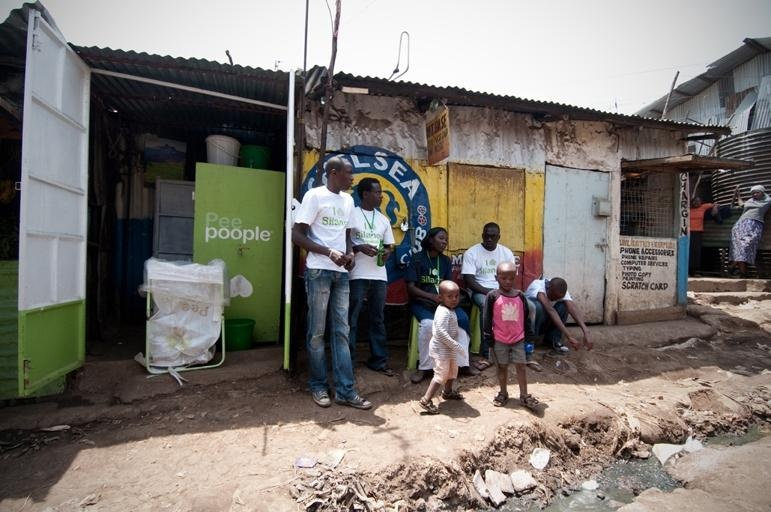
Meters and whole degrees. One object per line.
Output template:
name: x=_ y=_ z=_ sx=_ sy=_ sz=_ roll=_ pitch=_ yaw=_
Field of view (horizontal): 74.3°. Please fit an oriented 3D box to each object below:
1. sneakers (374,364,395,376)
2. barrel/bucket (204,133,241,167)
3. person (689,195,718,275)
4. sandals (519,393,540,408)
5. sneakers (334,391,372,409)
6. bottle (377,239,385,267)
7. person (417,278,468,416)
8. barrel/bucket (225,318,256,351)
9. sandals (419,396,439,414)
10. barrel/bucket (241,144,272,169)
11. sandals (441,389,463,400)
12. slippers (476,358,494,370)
sneakers: x=-0.029 y=1.609 z=7.266 sx=0.327 sy=0.098 sz=0.121 roll=4 pitch=2 yaw=38
barrel/bucket: x=-2.684 y=-1.705 z=8.239 sx=0.510 sy=0.424 sz=0.507 roll=-1 pitch=8 yaw=0
person: x=7.734 y=-0.475 z=12.420 sx=0.577 sy=1.845 sz=1.115 roll=-1 pitch=0 yaw=31
sandals: x=1.903 y=1.914 z=6.749 sx=0.264 sy=0.122 sz=0.129 roll=4 pitch=-35 yaw=14
sneakers: x=-0.398 y=1.861 z=6.691 sx=0.543 sy=0.226 sz=0.190 roll=4 pitch=-2 yaw=4
bottle: x=-0.056 y=-0.049 z=7.172 sx=0.094 sy=0.316 sz=0.231 roll=-1 pitch=0 yaw=15
person: x=0.760 y=1.180 z=6.802 sx=0.583 sy=1.365 sz=0.791 roll=-1 pitch=0 yaw=14
barrel/bucket: x=-2.183 y=1.159 z=7.622 sx=0.433 sy=0.338 sz=0.426 roll=0 pitch=-7 yaw=0
sandals: x=0.527 y=1.938 z=6.633 sx=0.269 sy=0.136 sz=0.136 roll=19 pitch=-4 yaw=32
barrel/bucket: x=-2.124 y=-1.587 z=8.333 sx=0.411 sy=0.329 sz=0.412 roll=1 pitch=-9 yaw=0
sandals: x=0.894 y=1.863 z=6.887 sx=0.271 sy=0.121 sz=0.120 roll=0 pitch=1 yaw=-1
slippers: x=1.467 y=1.618 z=7.661 sx=0.123 sy=0.068 sz=0.207 roll=-2 pitch=2 yaw=39
